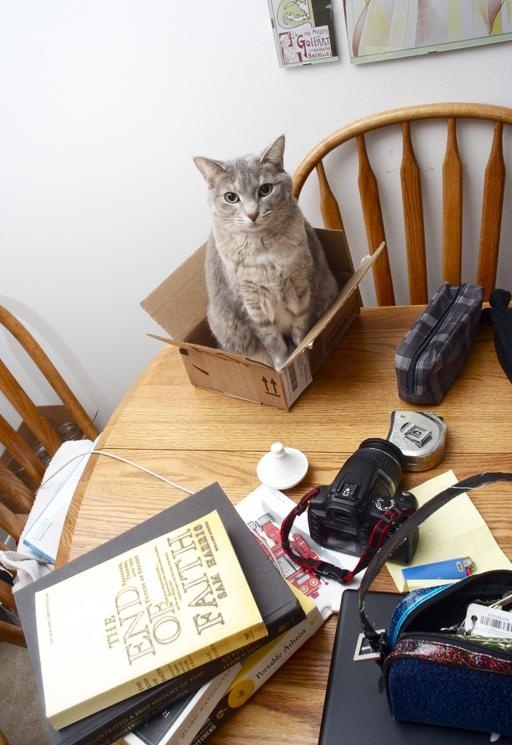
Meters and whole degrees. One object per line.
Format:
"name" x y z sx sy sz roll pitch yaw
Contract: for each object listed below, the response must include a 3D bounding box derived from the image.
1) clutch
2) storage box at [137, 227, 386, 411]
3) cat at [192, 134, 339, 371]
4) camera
"clutch" 0.297 -0.041 0.912 0.103 0.097 0.270 16 50 30
"storage box" 0.021 -0.105 1.022 0.373 0.181 0.383 14 45 32
"cat" 0.020 -0.218 1.100 0.264 0.420 0.360 -10 24 2
"camera" 0.136 0.156 0.736 0.137 0.096 0.159 1 29 17
